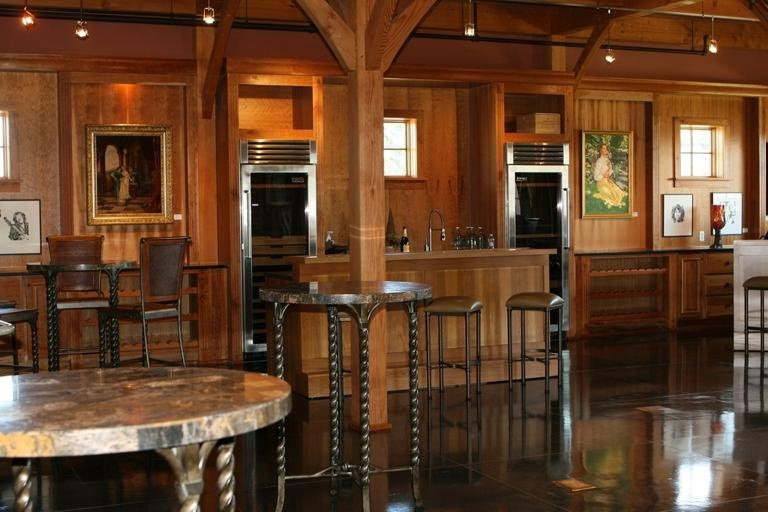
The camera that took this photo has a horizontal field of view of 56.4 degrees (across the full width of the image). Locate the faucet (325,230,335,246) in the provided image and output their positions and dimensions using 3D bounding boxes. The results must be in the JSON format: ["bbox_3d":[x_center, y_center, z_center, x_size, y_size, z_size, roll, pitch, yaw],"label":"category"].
[{"bbox_3d":[-0.723,-0.234,9.623,0.127,0.193,0.373,4,8,-4],"label":"faucet"}]

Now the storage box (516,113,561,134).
[{"bbox_3d":[2.143,-1.865,9.968,0.640,0.316,0.311,5,8,9],"label":"storage box"}]

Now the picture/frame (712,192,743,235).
[{"bbox_3d":[5.521,-0.703,11.621,0.780,0.888,0.072,-2,1,-30],"label":"picture/frame"}]

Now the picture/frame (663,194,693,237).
[{"bbox_3d":[4.618,-0.651,11.358,0.761,0.860,0.067,0,-1,-28],"label":"picture/frame"}]

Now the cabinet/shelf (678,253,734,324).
[{"bbox_3d":[4.868,0.460,10.967,1.242,1.055,0.557,-1,1,-26],"label":"cabinet/shelf"}]

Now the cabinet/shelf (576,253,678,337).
[{"bbox_3d":[3.612,0.587,10.756,1.349,0.984,0.457,-2,1,-19],"label":"cabinet/shelf"}]

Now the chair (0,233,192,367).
[{"bbox_3d":[-2.813,0.494,7.298,1.335,1.503,1.327,-1,9,-33],"label":"chair"}]
